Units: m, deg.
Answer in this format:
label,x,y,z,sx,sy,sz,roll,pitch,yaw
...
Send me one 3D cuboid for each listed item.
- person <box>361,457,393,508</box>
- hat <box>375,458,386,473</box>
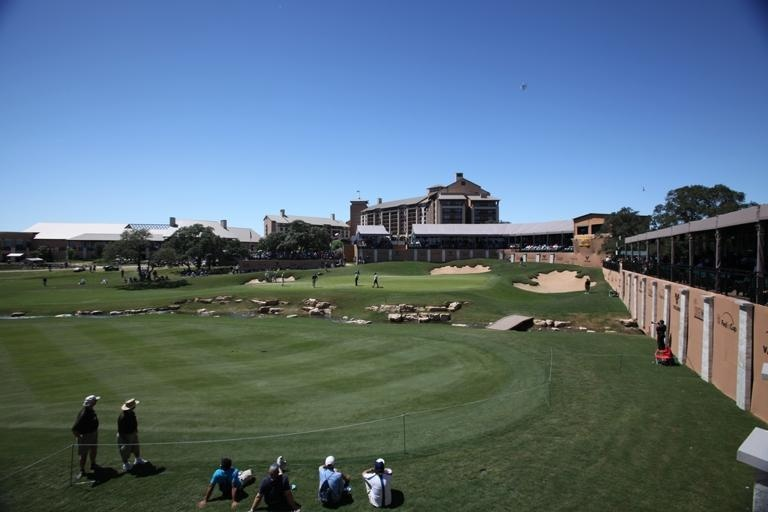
label,x,y,z,sx,sy,sz,roll,pitch,yaw
person,-0.283,9.555,21.477,1.160,1.826,1.176,-2,14,-3
hat,-0.153,8.902,21.677,0.570,0.543,0.683,2,-1,4
